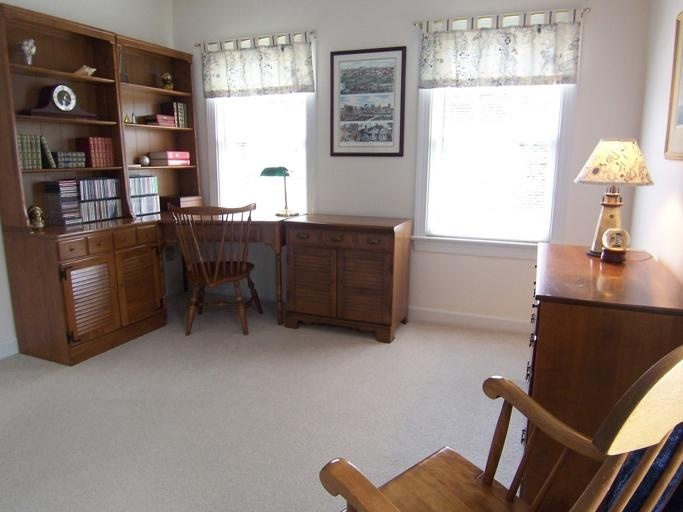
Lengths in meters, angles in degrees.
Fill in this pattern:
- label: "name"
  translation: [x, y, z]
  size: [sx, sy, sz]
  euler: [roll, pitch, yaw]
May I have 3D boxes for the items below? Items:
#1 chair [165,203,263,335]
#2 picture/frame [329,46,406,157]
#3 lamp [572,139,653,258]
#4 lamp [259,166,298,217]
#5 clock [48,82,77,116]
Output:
- label: "chair"
  translation: [-1.014, 0.099, 4.101]
  size: [0.633, 1.000, 0.655]
  euler: [-4, 5, -20]
- label: "picture/frame"
  translation: [0.235, -1.285, 4.048]
  size: [0.828, 1.105, 0.069]
  euler: [3, 13, 14]
- label: "lamp"
  translation: [1.409, -0.293, 2.614]
  size: [0.288, 0.612, 0.219]
  euler: [-4, 15, -15]
- label: "lamp"
  translation: [-0.515, -0.572, 4.321]
  size: [0.286, 0.416, 0.500]
  euler: [-2, 15, -4]
- label: "clock"
  translation: [-2.001, -1.149, 3.659]
  size: [0.101, 0.196, 0.285]
  euler: [-1, 15, -2]
